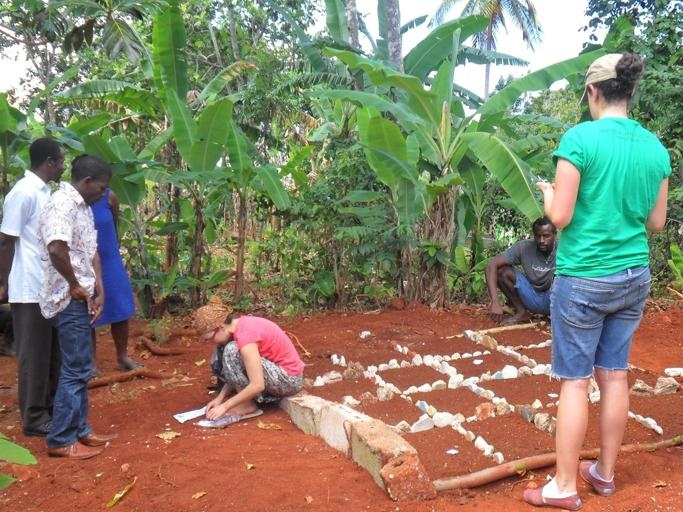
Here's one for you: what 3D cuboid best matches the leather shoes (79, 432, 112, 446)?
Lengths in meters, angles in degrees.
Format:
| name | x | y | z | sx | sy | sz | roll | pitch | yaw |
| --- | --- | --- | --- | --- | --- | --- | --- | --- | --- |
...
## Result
| name | x | y | z | sx | sy | sz | roll | pitch | yaw |
| --- | --- | --- | --- | --- | --- | --- | --- | --- | --- |
| leather shoes | -1.837 | 1.376 | 4.200 | 0.242 | 0.102 | 0.086 | 0 | 12 | -7 |

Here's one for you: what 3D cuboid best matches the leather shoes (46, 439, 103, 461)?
| name | x | y | z | sx | sy | sz | roll | pitch | yaw |
| --- | --- | --- | --- | --- | --- | --- | --- | --- | --- |
| leather shoes | -1.926 | 1.408 | 4.095 | 0.421 | 0.172 | 0.141 | 0 | 2 | -2 |

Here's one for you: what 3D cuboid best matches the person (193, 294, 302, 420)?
| name | x | y | z | sx | sy | sz | roll | pitch | yaw |
| --- | --- | --- | --- | --- | --- | --- | --- | --- | --- |
| person | -0.711 | 0.860 | 4.807 | 0.993 | 1.076 | 0.803 | 0 | -2 | -10 |

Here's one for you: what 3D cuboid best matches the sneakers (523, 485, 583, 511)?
| name | x | y | z | sx | sy | sz | roll | pitch | yaw |
| --- | --- | --- | --- | --- | --- | --- | --- | --- | --- |
| sneakers | 1.236 | 1.418 | 3.243 | 0.325 | 0.129 | 0.122 | 3 | -2 | 23 |

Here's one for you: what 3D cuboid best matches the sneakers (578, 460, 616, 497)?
| name | x | y | z | sx | sy | sz | roll | pitch | yaw |
| --- | --- | --- | --- | --- | --- | --- | --- | --- | --- |
| sneakers | 1.539 | 1.346 | 3.329 | 0.121 | 0.101 | 0.246 | -8 | 19 | -1 |

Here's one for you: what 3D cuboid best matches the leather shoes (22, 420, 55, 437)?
| name | x | y | z | sx | sy | sz | roll | pitch | yaw |
| --- | --- | --- | --- | --- | --- | --- | --- | --- | --- |
| leather shoes | -2.376 | 1.364 | 4.401 | 0.257 | 0.105 | 0.107 | -1 | 4 | -5 |
